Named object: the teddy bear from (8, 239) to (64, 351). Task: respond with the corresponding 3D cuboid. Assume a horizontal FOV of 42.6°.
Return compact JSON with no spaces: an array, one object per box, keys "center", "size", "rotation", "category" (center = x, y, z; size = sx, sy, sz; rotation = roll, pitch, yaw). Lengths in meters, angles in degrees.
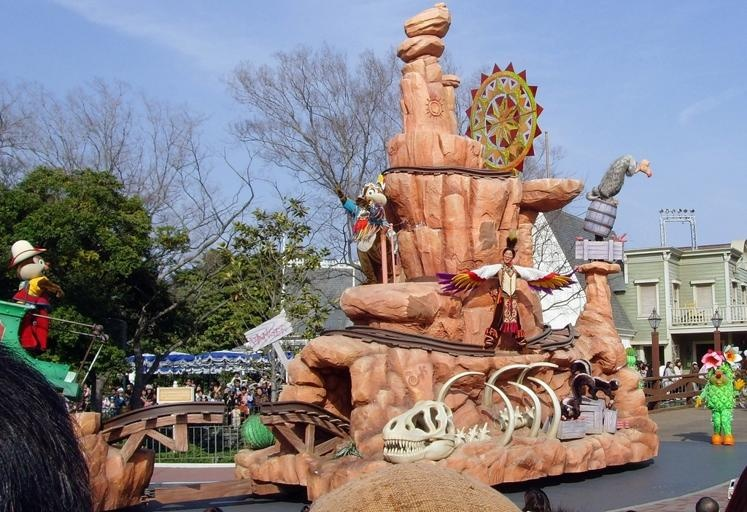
[{"center":[-7.471,0.917,20.994],"size":[0.884,1.991,1.174],"rotation":[-2,1,-22],"category":"teddy bear"}]
